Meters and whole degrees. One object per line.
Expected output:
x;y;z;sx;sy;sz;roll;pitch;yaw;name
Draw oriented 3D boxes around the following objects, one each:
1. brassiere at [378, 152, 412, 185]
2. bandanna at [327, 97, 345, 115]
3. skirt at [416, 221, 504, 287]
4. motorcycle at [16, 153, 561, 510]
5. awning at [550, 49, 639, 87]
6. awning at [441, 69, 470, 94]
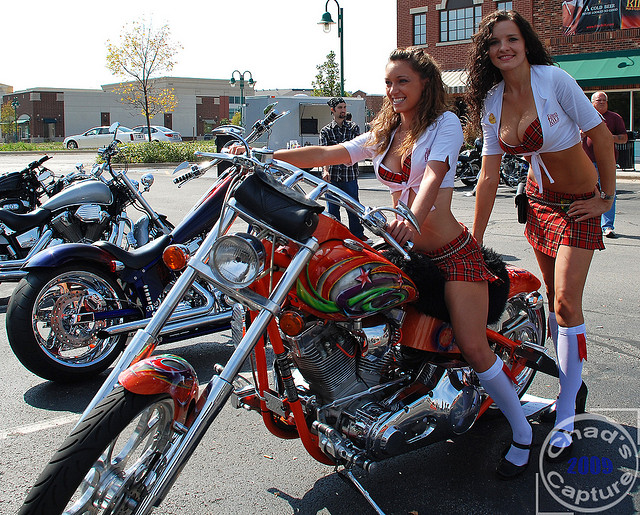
0.427;-0.488;2.675;0.070;0.153;0.145;29;-18;-14;brassiere
0.324;-3.127;9.602;0.288;0.268;0.412;-2;19;3;bandanna
0.781;-0.011;2.620;0.302;0.362;0.311;-1;13;-28;skirt
0.244;0.203;3.140;3.716;1.987;1.624;-4;19;-37;motorcycle
12.934;-8.708;21.620;3.067;1.482;1.180;9;22;31;awning
6.925;-9.128;24.233;0.916;1.195;4.046;1;20;12;awning
